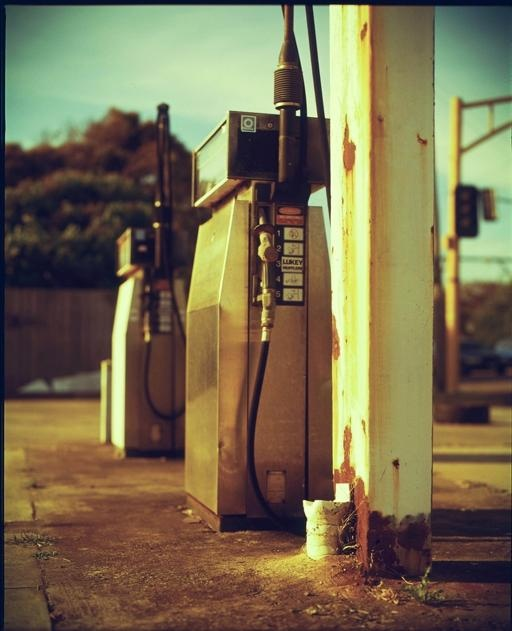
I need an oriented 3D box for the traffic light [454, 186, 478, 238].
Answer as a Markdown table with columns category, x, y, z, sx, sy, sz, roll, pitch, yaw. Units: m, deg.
| category | x | y | z | sx | sy | sz | roll | pitch | yaw |
| --- | --- | --- | --- | --- | --- | --- | --- | --- | --- |
| traffic light | 2.804 | -1.432 | 12.943 | 0.284 | 0.811 | 0.100 | 1 | 40 | 14 |
